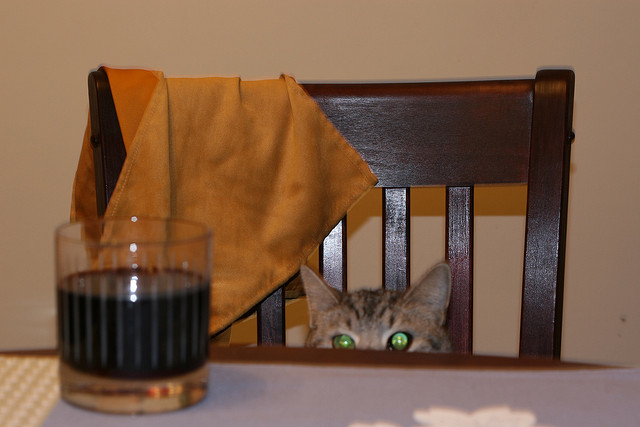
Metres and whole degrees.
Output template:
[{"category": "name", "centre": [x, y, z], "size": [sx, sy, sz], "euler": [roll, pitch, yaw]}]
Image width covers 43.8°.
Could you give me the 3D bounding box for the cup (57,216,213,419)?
[{"category": "cup", "centre": [-0.233, 0.118, 1.066], "size": [0.227, 0.279, 0.240], "euler": [0, 2, 0]}]

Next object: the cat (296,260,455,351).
[{"category": "cat", "centre": [0.105, 0.179, 1.398], "size": [0.267, 0.204, 0.154], "euler": [1, -22, 0]}]
